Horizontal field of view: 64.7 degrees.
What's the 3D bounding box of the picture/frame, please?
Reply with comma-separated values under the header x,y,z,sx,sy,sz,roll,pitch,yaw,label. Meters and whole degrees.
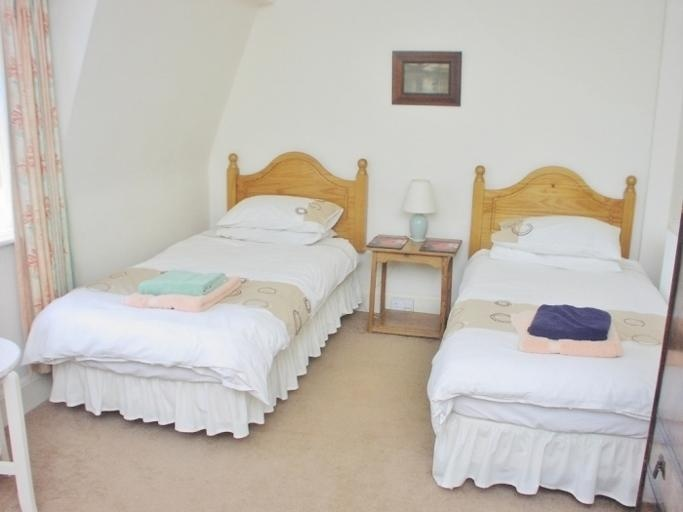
x,y,z,sx,sy,sz,roll,pitch,yaw,label
0.672,-1.379,4.100,0.437,0.339,0.029,2,12,11,picture/frame
